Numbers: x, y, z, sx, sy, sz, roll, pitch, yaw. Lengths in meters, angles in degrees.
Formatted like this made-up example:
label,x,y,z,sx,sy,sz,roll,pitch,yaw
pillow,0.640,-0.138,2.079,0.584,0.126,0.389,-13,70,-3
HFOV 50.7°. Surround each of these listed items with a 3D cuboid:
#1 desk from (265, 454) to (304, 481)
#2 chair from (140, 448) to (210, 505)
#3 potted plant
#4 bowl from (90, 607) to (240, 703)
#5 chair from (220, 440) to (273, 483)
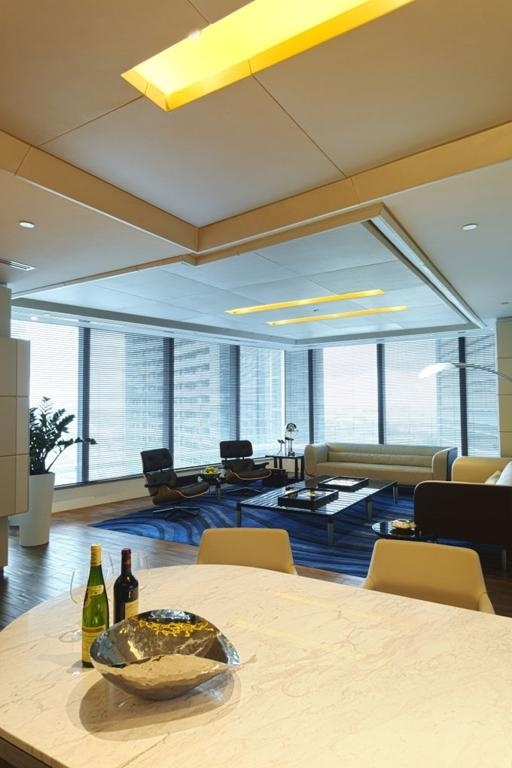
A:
label,x,y,z,sx,sy,sz,roll,pitch,yaw
desk,0.579,1.354,9.173,0.500,0.468,0.506,3,7,31
chair,-0.940,1.085,6.363,0.683,0.636,0.754,-5,-2,12
potted plant,-2.066,0.832,5.606,0.603,1.381,1.544,3,-4,-19
bowl,-0.200,0.551,1.087,0.226,0.076,0.231,8,5,-1
chair,-0.169,1.130,7.686,0.701,0.652,0.611,2,-7,-34
